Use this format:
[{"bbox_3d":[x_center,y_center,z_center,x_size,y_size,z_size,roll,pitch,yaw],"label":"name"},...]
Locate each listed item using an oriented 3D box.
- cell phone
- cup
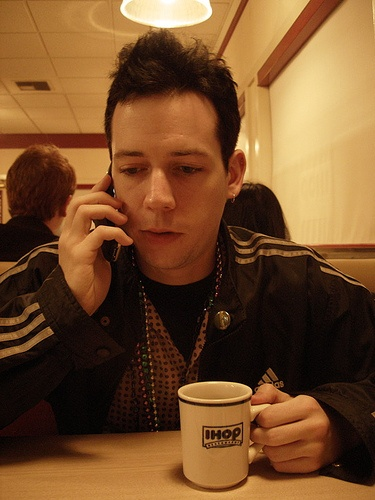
[{"bbox_3d":[-0.191,-0.083,0.973,0.062,0.199,0.131,2,14,-15],"label":"cell phone"},{"bbox_3d":[0.056,0.228,0.521,0.134,0.113,0.115,-2,-5,-9],"label":"cup"}]
